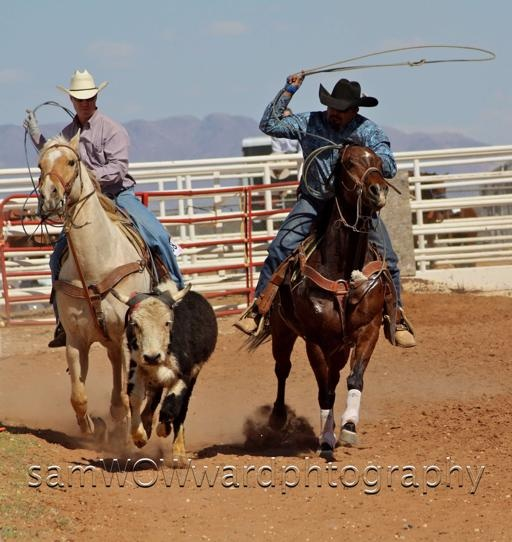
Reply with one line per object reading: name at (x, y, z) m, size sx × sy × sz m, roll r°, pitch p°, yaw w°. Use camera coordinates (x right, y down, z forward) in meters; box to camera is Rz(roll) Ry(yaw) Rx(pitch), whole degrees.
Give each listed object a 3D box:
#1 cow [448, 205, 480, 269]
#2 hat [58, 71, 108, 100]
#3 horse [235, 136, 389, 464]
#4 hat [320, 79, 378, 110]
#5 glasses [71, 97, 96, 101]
cow at (4.382, -0.738, 18.838) m, size 0.906 × 1.290 × 0.331 m, roll -1°, pitch -9°, yaw 3°
hat at (-1.619, -1.713, 8.326) m, size 0.395 × 0.270 × 0.206 m, roll -4°, pitch 7°, yaw -9°
horse at (0.696, 0.274, 7.863) m, size 0.942 × 2.709 × 1.862 m, roll -5°, pitch 8°, yaw -8°
hat at (0.806, -1.538, 7.870) m, size 0.491 × 0.278 × 0.455 m, roll -3°, pitch 7°, yaw 5°
glasses at (-1.581, -1.590, 8.335) m, size 0.216 × 0.045 × 0.167 m, roll -5°, pitch 6°, yaw -17°
